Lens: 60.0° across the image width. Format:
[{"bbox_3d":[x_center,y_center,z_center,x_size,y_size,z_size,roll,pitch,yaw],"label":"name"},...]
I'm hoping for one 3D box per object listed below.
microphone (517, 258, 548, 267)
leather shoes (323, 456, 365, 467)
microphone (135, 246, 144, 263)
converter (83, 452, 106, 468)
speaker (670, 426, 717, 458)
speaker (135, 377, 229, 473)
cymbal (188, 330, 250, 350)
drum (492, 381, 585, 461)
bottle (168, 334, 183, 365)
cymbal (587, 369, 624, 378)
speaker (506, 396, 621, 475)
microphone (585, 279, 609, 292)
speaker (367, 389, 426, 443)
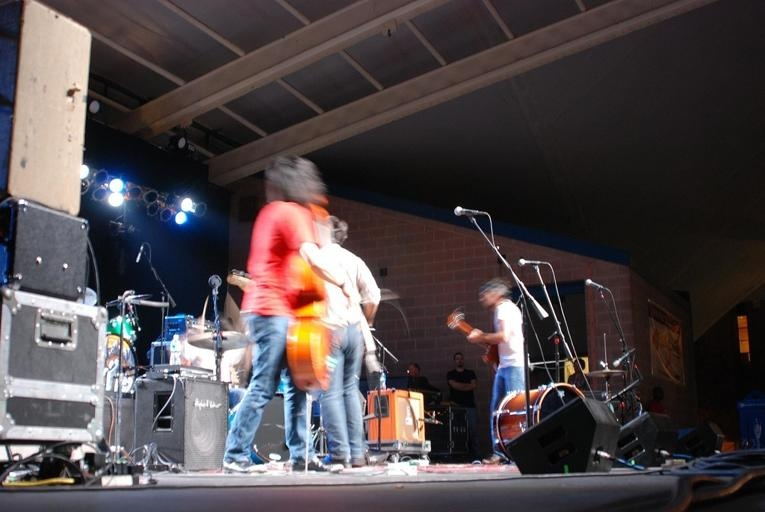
[{"bbox_3d":[1.904,0.082,8.327,0.351,0.096,0.118,-1,-41,-2],"label":"microphone"},{"bbox_3d":[-0.253,1.367,4.355,0.260,0.066,0.157,0,-12,-2],"label":"leather shoes"},{"bbox_3d":[-3.615,-0.029,9.739,0.061,0.251,0.076,30,2,-2],"label":"microphone"},{"bbox_3d":[-1.475,1.033,3.364,0.129,0.072,0.091,13,-21,-20],"label":"converter"},{"bbox_3d":[2.549,1.480,5.336,0.339,0.250,0.439,-10,-21,25],"label":"speaker"},{"bbox_3d":[-1.996,1.638,6.455,0.654,0.854,0.720,-11,-20,25],"label":"speaker"},{"bbox_3d":[-1.671,0.854,6.691,0.331,0.080,0.338,-10,-21,14],"label":"cymbal"},{"bbox_3d":[1.324,1.495,5.827,0.638,0.652,0.502,6,-11,-44],"label":"drum"},{"bbox_3d":[-2.158,0.947,6.835,0.142,0.297,0.051,-7,-20,18],"label":"bottle"},{"bbox_3d":[2.846,1.480,8.378,0.295,0.070,0.302,-7,-4,14],"label":"cymbal"},{"bbox_3d":[1.046,0.951,3.523,0.348,0.318,0.459,-40,-26,30],"label":"speaker"},{"bbox_3d":[2.972,0.406,9.120,0.332,0.091,0.100,26,-21,-7],"label":"microphone"},{"bbox_3d":[0.156,2.045,8.268,0.443,0.607,0.798,-10,-20,25],"label":"speaker"}]
